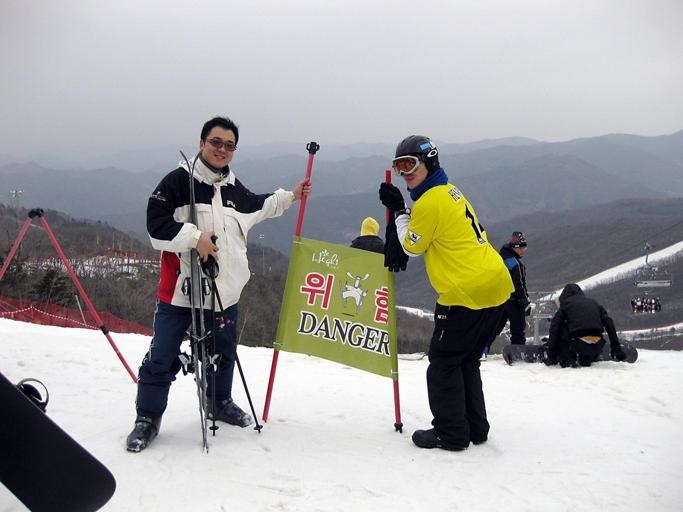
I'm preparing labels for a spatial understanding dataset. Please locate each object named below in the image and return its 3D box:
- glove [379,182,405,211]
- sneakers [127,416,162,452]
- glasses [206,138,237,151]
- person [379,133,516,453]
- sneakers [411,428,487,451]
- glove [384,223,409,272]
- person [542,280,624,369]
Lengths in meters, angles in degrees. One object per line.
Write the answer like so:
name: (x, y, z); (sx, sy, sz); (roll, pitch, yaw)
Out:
glove: (0.468, -0.535, 5.255); (0.173, 0.305, 0.087); (-29, 4, 14)
sneakers: (-1.709, 1.502, 4.839); (0.172, 0.236, 0.359); (3, 2, 10)
glasses: (-1.045, -0.968, 4.956); (0.248, 0.089, 0.150); (2, 2, -18)
person: (0.937, 0.323, 5.084); (1.149, 2.176, 0.480); (3, 2, 18)
sneakers: (0.963, 1.593, 5.038); (0.633, 0.288, 0.242); (-3, 4, 19)
glove: (0.450, -0.075, 5.261); (0.116, 0.411, 0.284); (3, -23, -40)
person: (3.832, 1.127, 8.944); (1.038, 1.191, 0.681); (3, 2, 23)
